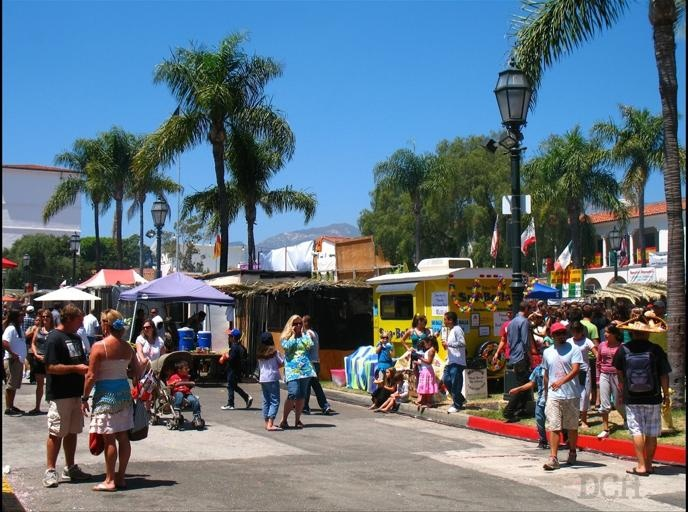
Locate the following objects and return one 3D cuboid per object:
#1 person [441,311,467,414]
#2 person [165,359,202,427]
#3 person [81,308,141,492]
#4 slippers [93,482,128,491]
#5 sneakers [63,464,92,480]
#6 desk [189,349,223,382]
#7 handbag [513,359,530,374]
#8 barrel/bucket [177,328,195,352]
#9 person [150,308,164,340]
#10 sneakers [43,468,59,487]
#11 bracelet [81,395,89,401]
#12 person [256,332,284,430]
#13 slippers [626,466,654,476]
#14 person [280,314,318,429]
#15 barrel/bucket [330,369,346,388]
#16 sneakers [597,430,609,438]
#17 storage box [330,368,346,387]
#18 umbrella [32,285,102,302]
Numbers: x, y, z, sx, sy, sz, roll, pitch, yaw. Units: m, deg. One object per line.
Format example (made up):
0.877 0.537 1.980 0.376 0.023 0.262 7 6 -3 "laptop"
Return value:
2.493 2.399 21.167 0.487 2.208 0.456 -1 -5 5 "person"
-3.370 2.959 20.163 0.774 1.393 1.591 1 -6 -11 "person"
-3.780 2.376 15.428 0.885 2.833 0.508 1 -5 -19 "person"
-3.740 3.732 15.159 0.505 0.110 0.224 1 -6 -18 "slippers"
-4.433 3.587 15.655 0.498 0.285 0.202 0 -1 1 "sneakers"
-3.859 3.188 26.862 0.947 1.083 1.016 0 -3 -14 "desk"
3.677 2.285 19.542 0.235 0.364 0.353 -4 4 -30 "handbag"
-4.597 2.465 27.744 0.405 0.678 0.907 0 -6 -8 "barrel/bucket"
-4.690 1.733 23.791 0.316 0.977 0.700 -8 -6 -6 "person"
-4.739 3.624 15.344 0.242 0.281 0.254 2 -6 -20 "sneakers"
-4.202 2.339 15.388 0.124 0.092 0.150 2 -8 -5 "bracelet"
-1.556 2.690 20.361 0.518 2.047 1.498 0 -5 -3 "person"
5.060 3.723 16.176 0.159 0.122 0.359 1 0 -26 "slippers"
-0.983 2.513 20.571 0.729 2.398 1.313 0 -5 -2 "person"
-0.104 3.393 26.196 0.338 0.413 0.450 2 -2 29 "barrel/bucket"
4.938 3.413 17.953 0.096 0.126 0.278 -12 -14 37 "sneakers"
-0.129 3.392 26.126 0.420 0.409 0.358 2 1 -32 "storage box"
-9.524 1.341 32.707 1.522 0.628 2.620 2 -6 -21 "umbrella"
